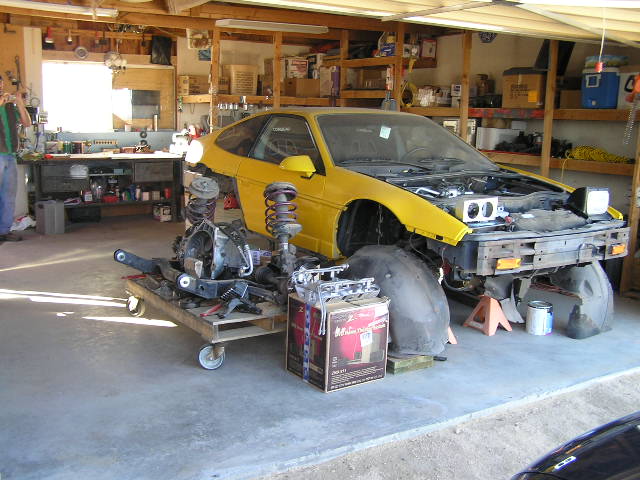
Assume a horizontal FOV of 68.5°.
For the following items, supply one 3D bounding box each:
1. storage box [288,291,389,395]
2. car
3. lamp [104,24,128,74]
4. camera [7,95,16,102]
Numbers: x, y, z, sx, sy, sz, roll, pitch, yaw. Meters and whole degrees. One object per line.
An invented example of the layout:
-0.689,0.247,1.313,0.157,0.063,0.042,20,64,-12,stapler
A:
0.145,0.762,3.695,0.636,0.684,0.466,-11,18,-30,storage box
0.652,-0.738,5.377,2.612,1.066,4.342,-12,23,-38,car
-4.848,-4.505,11.108,0.481,1.011,0.622,-7,17,-14,lamp
-4.802,-2.225,7.329,0.111,0.078,0.169,5,1,-20,camera
